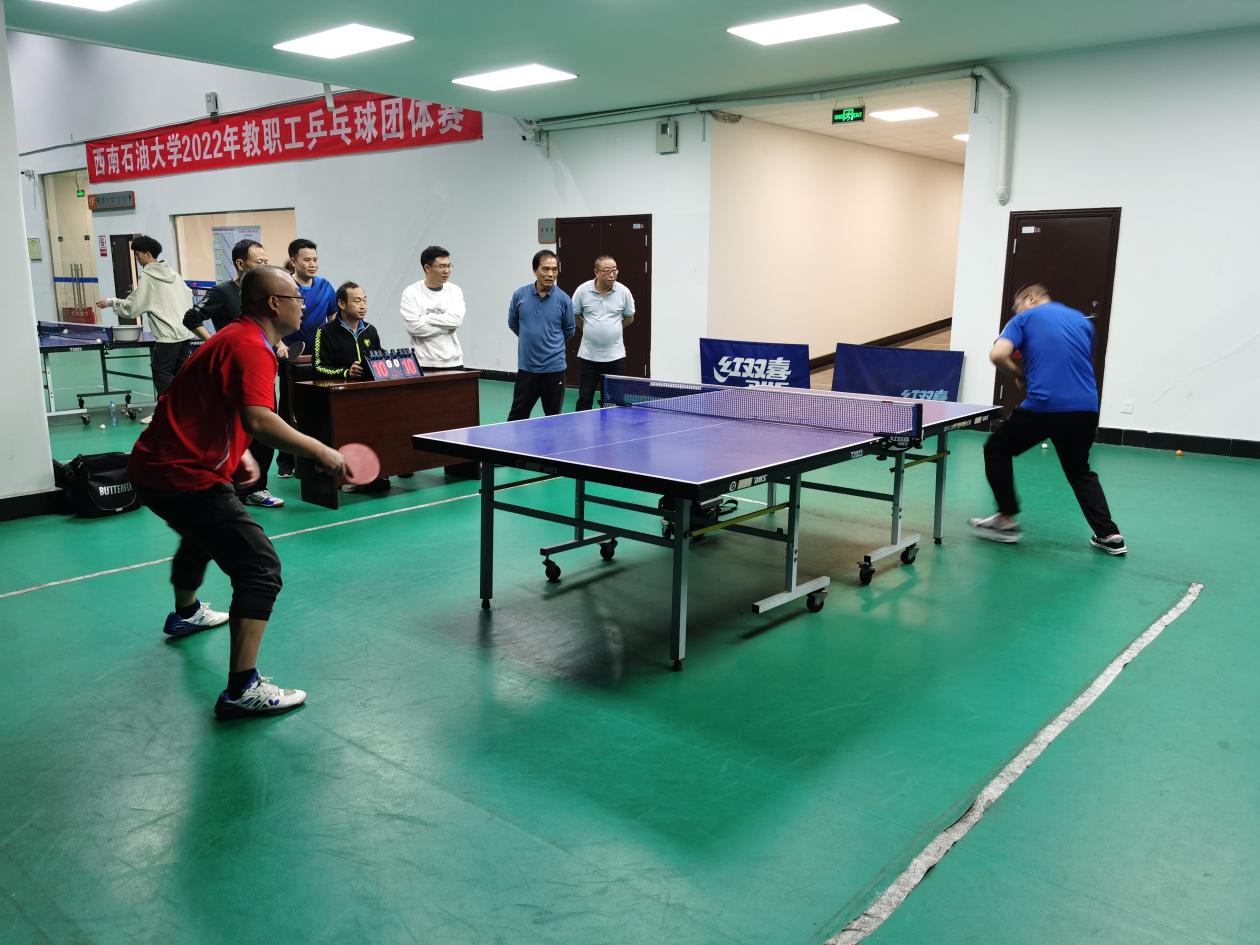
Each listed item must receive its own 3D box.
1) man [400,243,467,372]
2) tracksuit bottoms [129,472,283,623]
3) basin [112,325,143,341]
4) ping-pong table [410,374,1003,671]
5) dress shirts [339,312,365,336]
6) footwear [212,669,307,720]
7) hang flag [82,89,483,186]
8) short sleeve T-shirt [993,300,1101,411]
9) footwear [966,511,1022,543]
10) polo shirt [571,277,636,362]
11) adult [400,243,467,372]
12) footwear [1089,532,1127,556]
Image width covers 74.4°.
[{"bbox_3d":[-1.541,-1.278,6.514,0.443,0.952,0.453,-4,15,-10],"label":"man"},{"bbox_3d":[-1.902,0.358,3.671,0.599,0.501,0.346,19,22,28],"label":"tracksuit bottoms"},{"bbox_3d":[-5.550,-1.545,9.184,0.397,0.130,0.399,0,5,0],"label":"basin"},{"bbox_3d":[0.474,0.109,4.507,1.832,0.998,2.601,11,18,38],"label":"ping-pong table"},{"bbox_3d":[-2.028,-1.090,6.042,0.128,0.090,0.157,22,17,-12],"label":"dress shirts"},{"bbox_3d":[-1.419,0.842,3.293,0.417,0.185,0.141,-1,9,-24],"label":"footwear"},{"bbox_3d":[-6.261,-5.679,14.067,9.569,0.890,0.377,8,17,31],"label":"hang flag"},{"bbox_3d":[2.479,-0.683,4.900,0.549,0.621,0.302,4,16,18],"label":"short sleeve T-shirt"},{"bbox_3d":[2.280,0.320,5.214,0.145,0.155,0.354,-5,13,-27],"label":"footwear"},{"bbox_3d":[-0.228,-1.299,7.171,0.478,0.678,0.277,-2,15,-3],"label":"polo shirt"},{"bbox_3d":[-1.539,-1.275,6.503,0.443,0.952,0.431,-4,15,-10],"label":"adult"},{"bbox_3d":[2.878,0.417,4.975,0.099,0.099,0.228,-4,12,-11],"label":"footwear"}]
